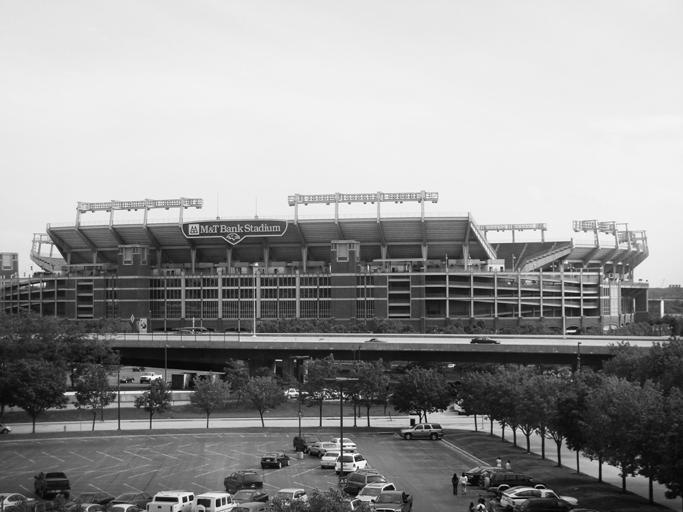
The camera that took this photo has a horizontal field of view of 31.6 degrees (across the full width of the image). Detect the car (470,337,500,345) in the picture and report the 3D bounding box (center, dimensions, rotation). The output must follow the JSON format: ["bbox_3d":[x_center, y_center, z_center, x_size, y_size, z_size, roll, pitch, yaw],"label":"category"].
[{"bbox_3d":[18.671,11.187,158.586,2.923,0.689,1.303,-1,3,9],"label":"car"}]

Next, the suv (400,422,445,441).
[{"bbox_3d":[9.022,20.050,137.833,4.079,1.472,1.987,2,-3,-1],"label":"suv"}]

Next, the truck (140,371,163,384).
[{"bbox_3d":[-26.885,17.159,169.668,3.092,1.633,52.944,-1,-5,-9],"label":"truck"}]
